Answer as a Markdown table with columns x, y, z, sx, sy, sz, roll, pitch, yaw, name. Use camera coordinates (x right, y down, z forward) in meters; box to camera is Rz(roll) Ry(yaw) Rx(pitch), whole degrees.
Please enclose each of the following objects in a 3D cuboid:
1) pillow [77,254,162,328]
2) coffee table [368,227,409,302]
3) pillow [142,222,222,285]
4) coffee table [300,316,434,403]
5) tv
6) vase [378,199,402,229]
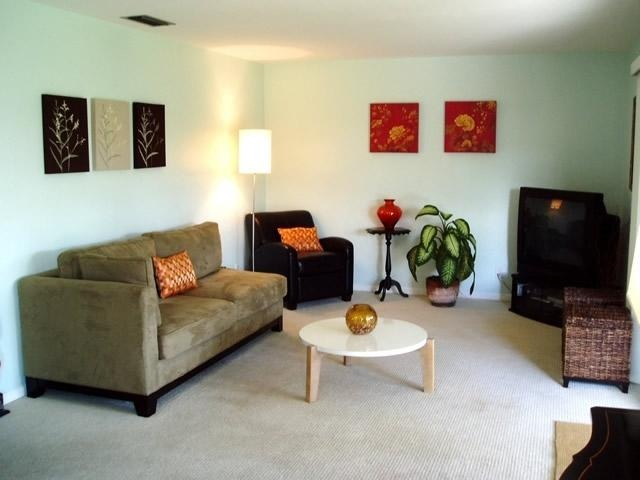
| x | y | z | sx | sy | sz | roll | pitch | yaw | name |
| --- | --- | --- | --- | --- | --- | --- | --- | --- | --- |
| -1.508 | 0.276 | 3.623 | 0.455 | 0.572 | 0.603 | 2 | 2 | 6 | pillow |
| 0.863 | 0.277 | 6.074 | 0.534 | 0.887 | 0.578 | 2 | 11 | 10 | coffee table |
| -1.306 | 0.133 | 4.488 | 0.169 | 0.345 | 0.548 | -5 | 3 | 24 | pillow |
| 0.365 | 0.926 | 3.635 | 1.021 | 0.467 | 0.727 | -1 | 11 | -5 | coffee table |
| 2.621 | -0.010 | 5.040 | 0.526 | 1.036 | 0.978 | -5 | 6 | -26 | tv |
| 0.856 | -0.316 | 5.965 | 0.324 | 0.407 | 0.344 | 4 | 3 | 27 | vase |
